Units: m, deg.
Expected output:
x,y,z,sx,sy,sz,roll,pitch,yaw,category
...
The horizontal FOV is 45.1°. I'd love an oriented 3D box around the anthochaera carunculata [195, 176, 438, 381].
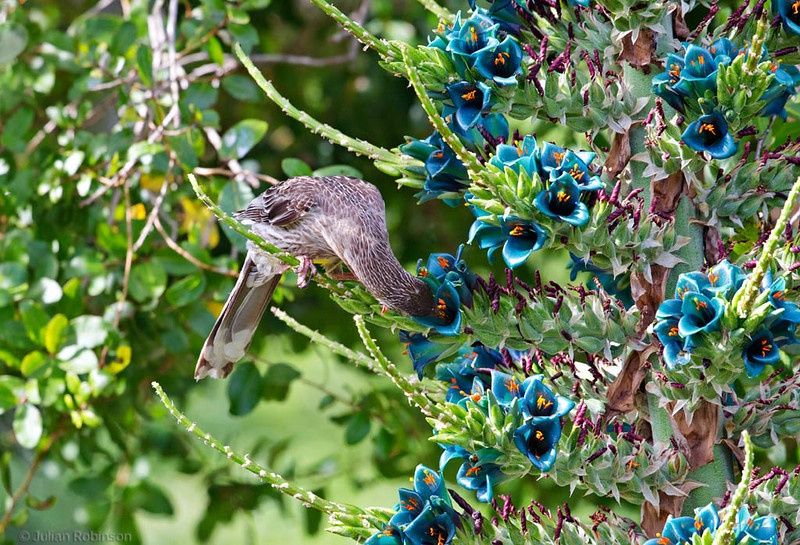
x,y,z,sx,sy,sz,roll,pitch,yaw,category
-0.327,-0.070,4.456,1.696,0.568,0.888,-18,75,41,anthochaera carunculata
